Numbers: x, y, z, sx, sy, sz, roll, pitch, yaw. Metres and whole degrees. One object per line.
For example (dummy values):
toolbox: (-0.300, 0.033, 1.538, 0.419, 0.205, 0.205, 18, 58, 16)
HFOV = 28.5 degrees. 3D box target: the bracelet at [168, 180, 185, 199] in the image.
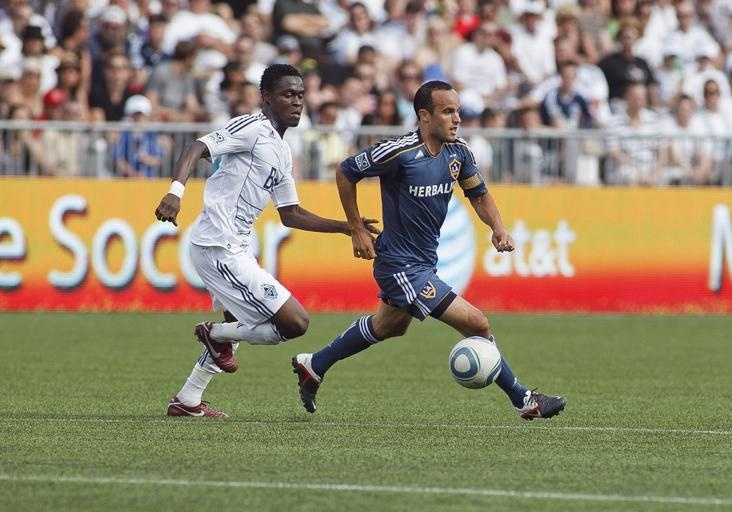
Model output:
bracelet: (-1.779, -0.624, 13.484, 0.133, 0.173, 0.373, -1, 3, -5)

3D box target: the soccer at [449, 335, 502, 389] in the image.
soccer: (1.086, 1.054, 13.832, 0.477, 0.461, 0.469, -23, -24, 7)

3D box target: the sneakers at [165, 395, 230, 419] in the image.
sneakers: (-1.641, 1.455, 13.997, 0.646, 0.230, 0.212, 3, -8, -4)

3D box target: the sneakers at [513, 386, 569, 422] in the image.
sneakers: (1.672, 1.431, 13.630, 0.554, 0.285, 0.198, -13, 35, 29)
